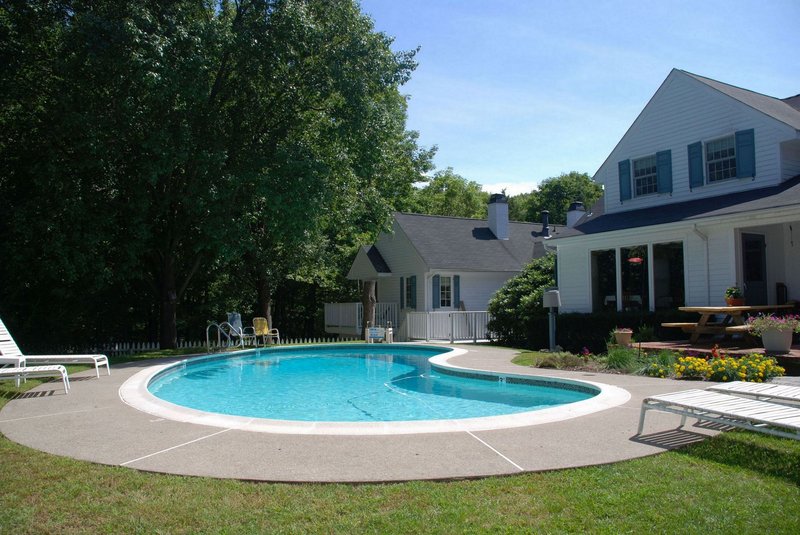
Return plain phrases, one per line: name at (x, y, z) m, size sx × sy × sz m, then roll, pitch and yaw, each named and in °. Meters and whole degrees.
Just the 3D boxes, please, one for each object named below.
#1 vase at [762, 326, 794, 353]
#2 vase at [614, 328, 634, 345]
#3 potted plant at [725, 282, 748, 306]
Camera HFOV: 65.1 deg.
vase at (10.144, 1.915, 16.782) m, size 0.671 × 0.519 × 0.683 m, roll 4°, pitch -6°, yaw -16°
vase at (6.975, 2.161, 19.599) m, size 0.549 × 0.547 × 0.540 m, roll 3°, pitch -5°, yaw -44°
potted plant at (10.440, 0.831, 19.342) m, size 0.629 × 0.669 × 0.650 m, roll 2°, pitch -2°, yaw 31°
